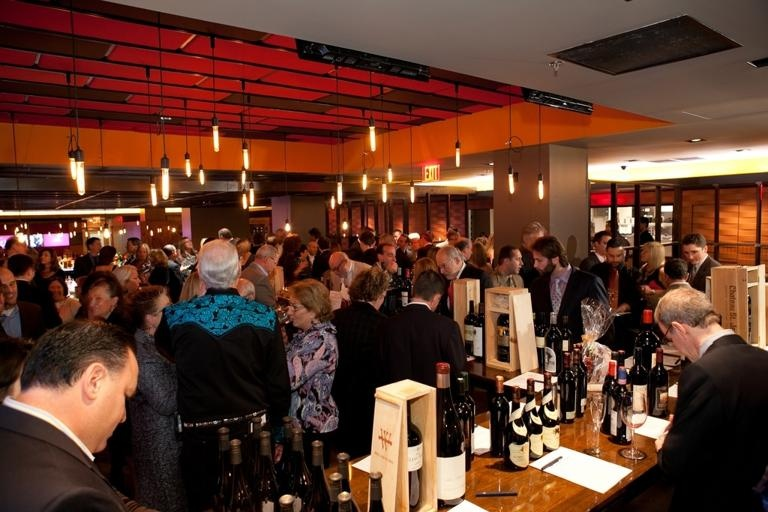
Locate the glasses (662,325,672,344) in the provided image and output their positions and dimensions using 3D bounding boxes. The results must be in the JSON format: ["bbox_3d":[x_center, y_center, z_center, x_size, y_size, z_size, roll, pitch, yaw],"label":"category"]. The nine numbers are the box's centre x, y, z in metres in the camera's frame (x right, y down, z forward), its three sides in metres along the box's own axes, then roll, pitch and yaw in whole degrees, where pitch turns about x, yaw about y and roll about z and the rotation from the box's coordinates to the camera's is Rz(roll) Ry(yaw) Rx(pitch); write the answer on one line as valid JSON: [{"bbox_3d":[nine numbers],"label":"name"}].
[{"bbox_3d":[1.996,0.554,4.272,0.046,0.171,0.165,2,-3,17],"label":"glasses"}]

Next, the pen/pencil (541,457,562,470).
[{"bbox_3d":[1.101,1.373,3.984,0.152,0.007,0.021,-15,30,-34],"label":"pen/pencil"}]

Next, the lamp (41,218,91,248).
[{"bbox_3d":[-11.949,-0.883,22.643,1.147,0.780,0.597,-5,-18,-46],"label":"lamp"}]

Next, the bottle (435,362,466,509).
[{"bbox_3d":[0.414,1.078,3.793,0.174,0.893,0.316,-2,6,8],"label":"bottle"}]

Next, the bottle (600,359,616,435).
[{"bbox_3d":[1.594,0.959,4.280,0.126,0.489,0.128,-5,28,3],"label":"bottle"}]

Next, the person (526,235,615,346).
[{"bbox_3d":[1.724,0.308,5.708,0.735,0.988,0.420,0,7,25],"label":"person"}]

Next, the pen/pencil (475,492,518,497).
[{"bbox_3d":[0.704,1.493,3.783,0.264,0.027,0.027,-3,6,0],"label":"pen/pencil"}]

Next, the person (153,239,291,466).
[{"bbox_3d":[-1.172,0.706,4.428,0.882,1.635,0.410,-5,7,-22],"label":"person"}]
